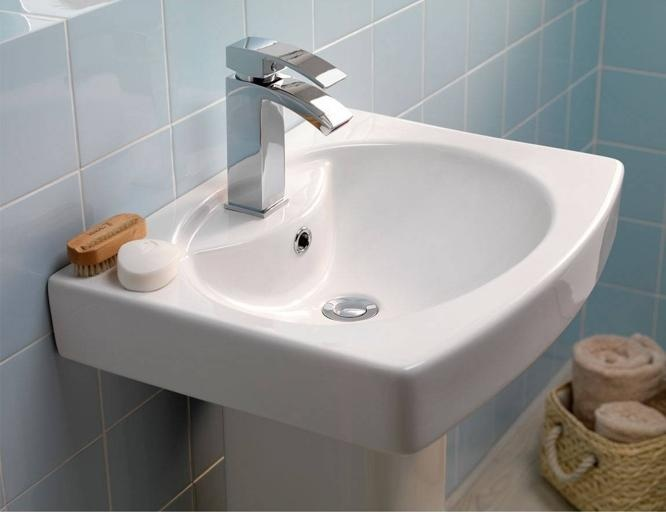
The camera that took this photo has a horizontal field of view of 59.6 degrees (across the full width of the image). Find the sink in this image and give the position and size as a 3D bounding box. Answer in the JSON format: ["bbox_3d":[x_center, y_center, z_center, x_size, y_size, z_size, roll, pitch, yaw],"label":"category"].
[{"bbox_3d":[0.047,0.024,0.803,0.521,0.189,0.695,22,40,31],"label":"sink"}]

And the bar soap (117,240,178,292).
[{"bbox_3d":[-0.216,0.012,0.668,0.065,0.034,0.070,11,35,18],"label":"bar soap"}]

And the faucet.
[{"bbox_3d":[-0.055,-0.186,0.843,0.182,0.213,0.223,25,40,32],"label":"faucet"}]

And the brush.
[{"bbox_3d":[-0.272,-0.024,0.683,0.056,0.041,0.119,24,38,20],"label":"brush"}]
